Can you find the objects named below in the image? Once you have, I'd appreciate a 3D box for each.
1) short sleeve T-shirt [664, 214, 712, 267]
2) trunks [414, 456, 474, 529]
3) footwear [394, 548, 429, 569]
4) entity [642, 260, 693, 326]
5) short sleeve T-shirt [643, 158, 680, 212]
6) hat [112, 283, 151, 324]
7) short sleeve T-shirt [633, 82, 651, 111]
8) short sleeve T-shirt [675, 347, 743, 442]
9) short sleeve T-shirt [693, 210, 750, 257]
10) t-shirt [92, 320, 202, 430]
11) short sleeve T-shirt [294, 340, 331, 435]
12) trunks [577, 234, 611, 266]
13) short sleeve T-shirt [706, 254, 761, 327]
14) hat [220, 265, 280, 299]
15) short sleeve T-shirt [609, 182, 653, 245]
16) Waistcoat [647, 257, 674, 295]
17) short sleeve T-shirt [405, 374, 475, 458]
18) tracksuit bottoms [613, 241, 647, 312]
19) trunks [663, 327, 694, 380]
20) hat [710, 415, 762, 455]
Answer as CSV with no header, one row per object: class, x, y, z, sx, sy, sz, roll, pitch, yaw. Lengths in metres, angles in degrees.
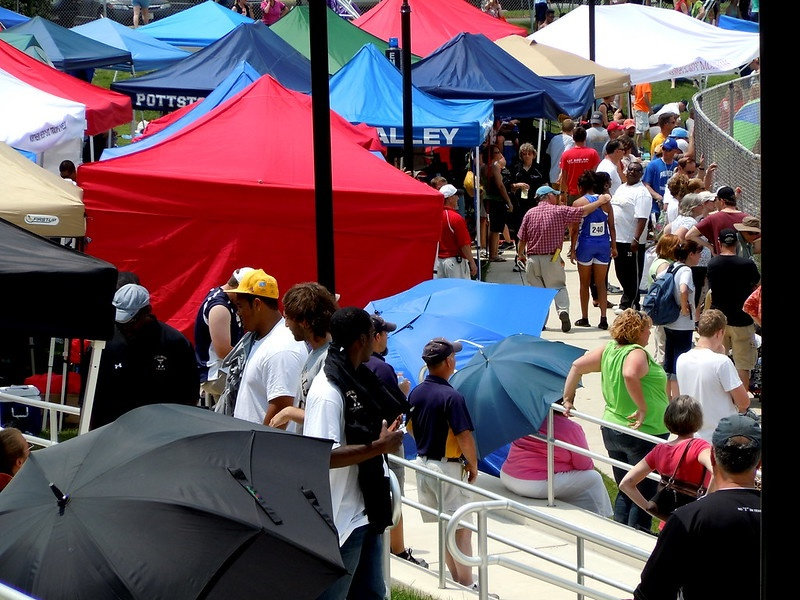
short sleeve T-shirt,3.178,-0.646,12.097,0.546,0.330,0.549,-1,-39,41
trunks,0.321,1.411,7.854,0.408,0.613,1.271,1,0,3
footwear,0.074,1.881,7.938,0.239,0.110,0.085,26,10,-17
entity,2.658,-0.055,11.421,0.549,0.777,0.463,0,6,-1
short sleeve T-shirt,3.579,-1.579,15.109,0.670,0.886,0.310,-18,21,-39
hat,-1.900,-0.019,7.854,0.180,0.161,0.293,16,44,15
short sleeve T-shirt,5.977,-5.079,27.248,0.331,0.625,0.612,-3,18,-32
short sleeve T-shirt,2.350,0.734,8.412,0.348,0.697,0.534,-14,15,-38
short sleeve T-shirt,3.564,-0.763,12.316,0.476,0.423,0.171,-4,8,-3
t-shirt,-1.711,0.505,7.283,0.685,0.868,0.429,1,-1,-5
short sleeve T-shirt,-0.474,0.496,6.014,0.191,0.614,0.436,7,9,-6
trunks,2.457,-0.622,14.007,0.453,0.315,0.448,-2,-38,1
short sleeve T-shirt,3.400,-0.086,11.238,0.609,0.847,0.430,1,11,18
hat,-0.934,-0.118,7.154,0.249,0.158,0.173,15,4,3
short sleeve T-shirt,2.923,-1.099,13.995,0.421,0.780,0.728,-4,6,-34
Waistcoat,2.759,-0.303,11.847,0.255,0.536,0.364,3,9,4
short sleeve T-shirt,0.293,0.822,7.683,0.258,0.575,0.572,-17,21,-40
tracksuit bottoms,2.980,-0.328,14.210,0.390,0.512,1.524,12,-20,16
trunks,2.702,0.516,10.678,0.179,0.607,0.245,-22,36,-27
hat,1.737,0.686,5.706,0.231,0.151,0.324,1,0,16
